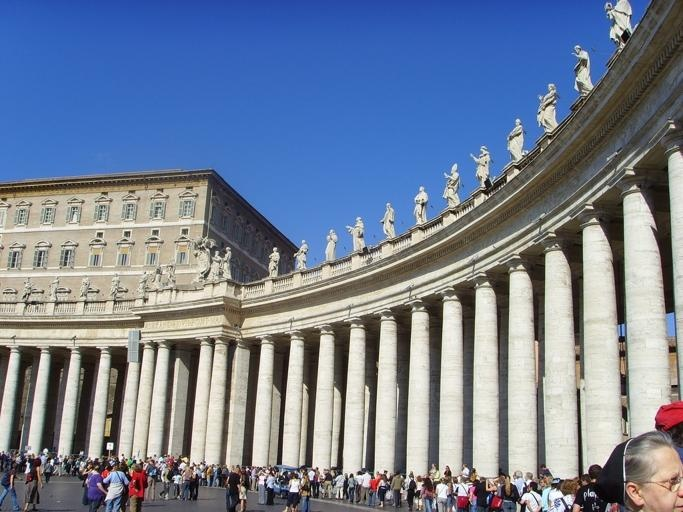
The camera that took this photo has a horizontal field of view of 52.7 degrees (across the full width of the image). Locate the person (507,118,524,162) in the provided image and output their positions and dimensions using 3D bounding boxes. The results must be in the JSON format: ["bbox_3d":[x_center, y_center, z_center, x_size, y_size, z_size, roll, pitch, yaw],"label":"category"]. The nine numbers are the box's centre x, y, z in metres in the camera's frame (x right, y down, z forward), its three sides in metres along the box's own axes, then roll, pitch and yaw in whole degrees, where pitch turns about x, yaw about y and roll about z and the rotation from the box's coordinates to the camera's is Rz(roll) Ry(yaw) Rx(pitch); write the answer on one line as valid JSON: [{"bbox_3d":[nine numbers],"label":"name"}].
[{"bbox_3d":[8.383,-5.413,33.069,0.726,2.059,1.013,-8,-23,14],"label":"person"}]

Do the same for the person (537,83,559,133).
[{"bbox_3d":[8.963,-6.304,29.975,0.863,2.445,1.414,-7,-23,13],"label":"person"}]
